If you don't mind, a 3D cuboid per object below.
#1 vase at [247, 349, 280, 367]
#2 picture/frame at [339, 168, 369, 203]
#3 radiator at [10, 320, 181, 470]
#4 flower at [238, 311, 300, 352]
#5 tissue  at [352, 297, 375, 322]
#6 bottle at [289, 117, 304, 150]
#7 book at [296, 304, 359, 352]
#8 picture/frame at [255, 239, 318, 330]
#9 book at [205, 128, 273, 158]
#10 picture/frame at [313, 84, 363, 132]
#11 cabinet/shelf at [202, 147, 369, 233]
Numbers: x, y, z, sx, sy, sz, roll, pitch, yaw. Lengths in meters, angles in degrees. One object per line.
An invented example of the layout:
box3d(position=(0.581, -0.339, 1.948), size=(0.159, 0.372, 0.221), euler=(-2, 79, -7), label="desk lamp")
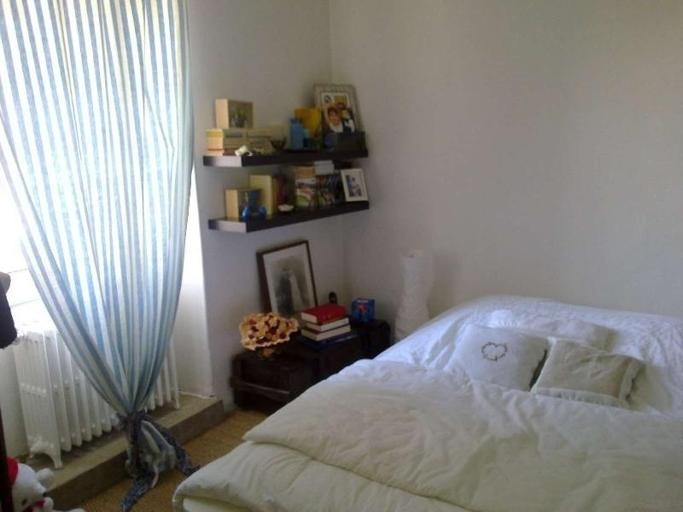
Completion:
box3d(position=(-0.471, 0.613, 3.046), size=(0.146, 0.062, 0.123), euler=(-2, 5, -22), label="vase")
box3d(position=(0.074, -0.494, 3.555), size=(0.194, 0.232, 0.029), euler=(-16, 5, -35), label="picture/frame")
box3d(position=(-1.230, 0.677, 2.476), size=(0.293, 0.677, 0.697), euler=(3, 14, 32), label="radiator")
box3d(position=(-0.427, 0.426, 3.017), size=(0.245, 0.086, 0.253), euler=(20, 33, 41), label="flower")
box3d(position=(0.155, 0.365, 3.597), size=(0.142, 0.139, 0.145), euler=(3, 13, 27), label="tissue ")
box3d(position=(-0.285, -0.781, 3.252), size=(0.076, 0.194, 0.122), euler=(5, 13, 34), label="bottle")
box3d(position=(-0.112, 0.437, 3.308), size=(0.254, 0.168, 0.246), euler=(-13, 17, -43), label="book")
box3d(position=(-0.379, 0.187, 3.317), size=(0.047, 0.638, 0.502), euler=(-2, 7, 35), label="picture/frame")
box3d(position=(-0.588, -0.673, 2.966), size=(0.388, 0.155, 0.117), euler=(-10, 14, -33), label="book")
box3d(position=(-0.042, -1.001, 3.434), size=(0.300, 0.350, 0.033), euler=(-13, -2, -42), label="picture/frame")
box3d(position=(-0.303, -0.429, 3.246), size=(0.397, 0.476, 1.130), euler=(6, 14, 37), label="cabinet/shelf")
